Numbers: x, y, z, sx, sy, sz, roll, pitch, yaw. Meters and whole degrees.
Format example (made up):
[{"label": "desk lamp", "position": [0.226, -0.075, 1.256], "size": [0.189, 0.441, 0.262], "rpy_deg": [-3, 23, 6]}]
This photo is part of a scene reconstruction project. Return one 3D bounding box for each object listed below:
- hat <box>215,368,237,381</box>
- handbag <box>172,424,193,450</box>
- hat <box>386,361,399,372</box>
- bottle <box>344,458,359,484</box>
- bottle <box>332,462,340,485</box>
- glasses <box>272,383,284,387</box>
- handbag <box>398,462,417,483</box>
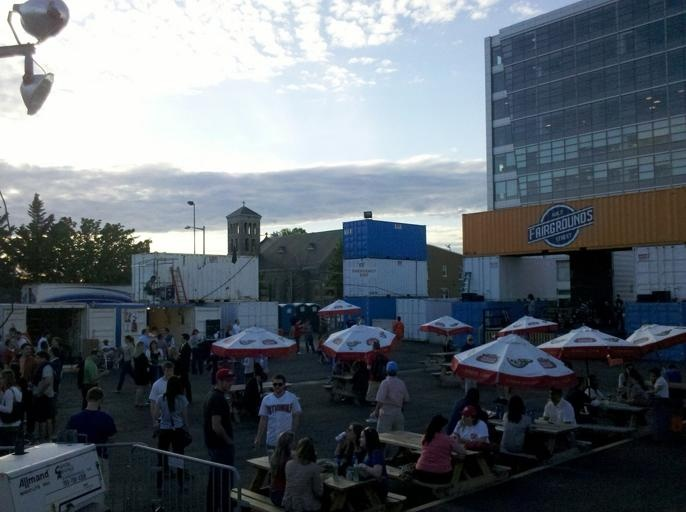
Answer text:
[{"label": "hat", "position": [-2.742, 2.778, 18.596], "size": [0.417, 0.203, 0.294], "rpy_deg": [-3, 4, -12]}, {"label": "handbag", "position": [-3.951, 4.458, 19.480], "size": [0.448, 0.679, 0.438], "rpy_deg": [-2, -2, -13]}, {"label": "hat", "position": [1.335, 2.994, 21.791], "size": [0.302, 0.217, 0.432], "rpy_deg": [1, -6, 1]}, {"label": "bottle", "position": [0.212, 4.859, 17.882], "size": [0.330, 0.729, 0.320], "rpy_deg": [3, -12, 1]}, {"label": "bottle", "position": [-0.156, 4.858, 17.927], "size": [0.134, 0.405, 0.318], "rpy_deg": [-2, -2, -1]}, {"label": "glasses", "position": [-1.556, 3.059, 19.078], "size": [0.264, 0.124, 0.193], "rpy_deg": [-2, -2, 6]}, {"label": "handbag", "position": [1.523, 5.176, 19.104], "size": [0.408, 0.332, 0.366], "rpy_deg": [-2, -2, 4]}]
